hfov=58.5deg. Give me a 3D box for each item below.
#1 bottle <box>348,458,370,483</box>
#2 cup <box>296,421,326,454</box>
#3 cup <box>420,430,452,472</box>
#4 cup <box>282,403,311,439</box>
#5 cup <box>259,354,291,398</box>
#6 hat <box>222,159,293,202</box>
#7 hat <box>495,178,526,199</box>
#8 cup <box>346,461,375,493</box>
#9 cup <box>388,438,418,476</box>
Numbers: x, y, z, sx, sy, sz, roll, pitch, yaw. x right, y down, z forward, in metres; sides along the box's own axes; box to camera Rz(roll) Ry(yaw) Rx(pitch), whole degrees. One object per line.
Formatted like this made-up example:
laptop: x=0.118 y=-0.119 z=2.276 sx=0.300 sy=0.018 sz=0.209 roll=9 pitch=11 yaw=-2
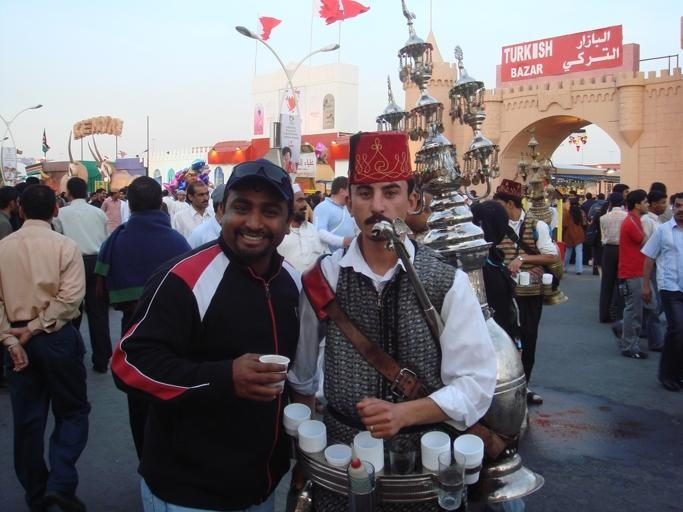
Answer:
bottle: x=0.075 y=0.993 z=2.821 sx=0.087 sy=0.138 sz=0.086 roll=-9 pitch=9 yaw=2
cup: x=-0.148 y=0.897 z=3.033 sx=0.133 sy=0.090 sz=0.139 roll=1 pitch=8 yaw=0
cup: x=0.439 y=0.913 z=2.902 sx=0.139 sy=0.162 sz=0.156 roll=13 pitch=24 yaw=39
cup: x=-0.232 y=0.842 z=3.107 sx=0.117 sy=0.112 sz=0.143 roll=4 pitch=5 yaw=3
cup: x=-0.295 y=0.553 z=2.839 sx=0.156 sy=0.169 sz=0.159 roll=-1 pitch=-1 yaw=0
hat: x=-0.417 y=-0.381 z=3.091 sx=0.336 sy=0.207 sz=0.209 roll=0 pitch=9 yaw=-5
hat: x=2.008 y=-0.811 z=7.261 sx=0.209 sy=0.169 sz=0.287 roll=13 pitch=3 yaw=-41
cup: x=0.082 y=1.022 z=2.851 sx=0.101 sy=0.157 sz=0.150 roll=-2 pitch=-2 yaw=0
cup: x=0.300 y=0.988 z=3.009 sx=0.131 sy=0.134 sz=0.174 roll=-1 pitch=-3 yaw=-2
